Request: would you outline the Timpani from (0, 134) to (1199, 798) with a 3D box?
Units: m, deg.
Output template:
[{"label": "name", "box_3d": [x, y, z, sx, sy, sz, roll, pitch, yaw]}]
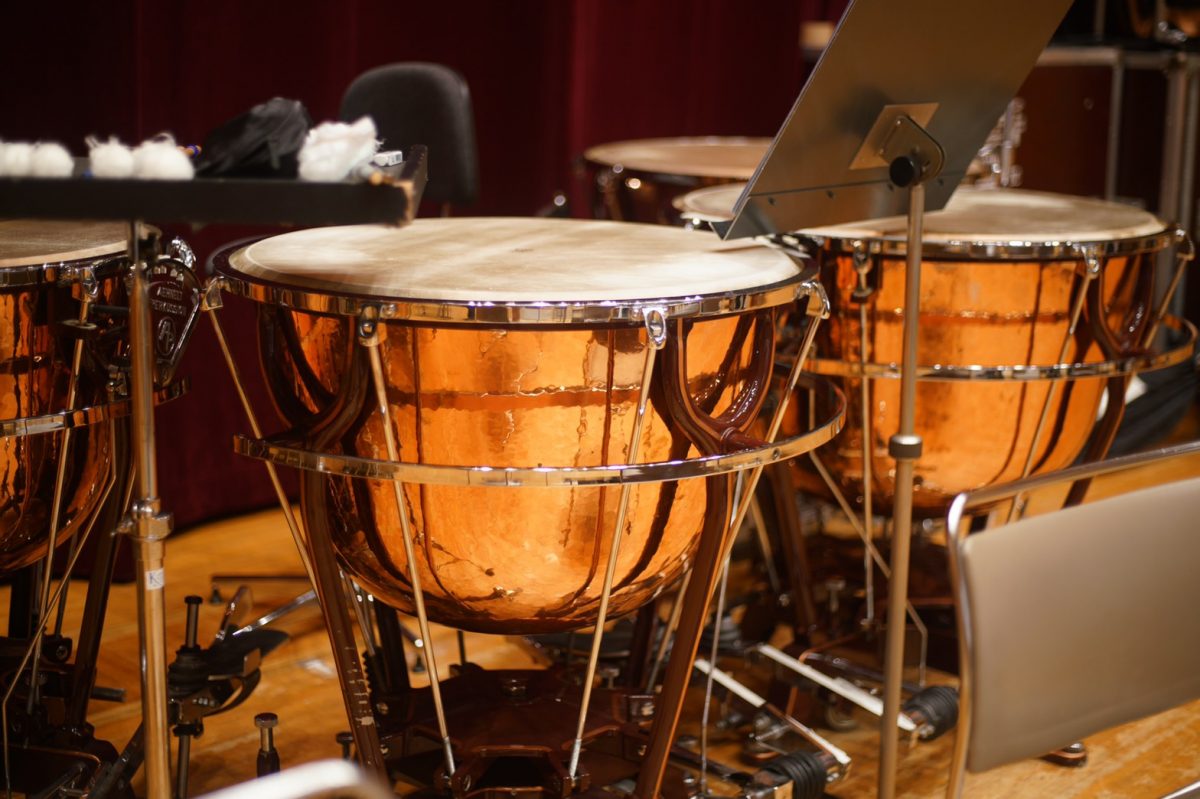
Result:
[{"label": "Timpani", "box_3d": [-0.040, 0.061, 1.894, 1.515, 1.255, 1.026, -1, 3, -11]}]
